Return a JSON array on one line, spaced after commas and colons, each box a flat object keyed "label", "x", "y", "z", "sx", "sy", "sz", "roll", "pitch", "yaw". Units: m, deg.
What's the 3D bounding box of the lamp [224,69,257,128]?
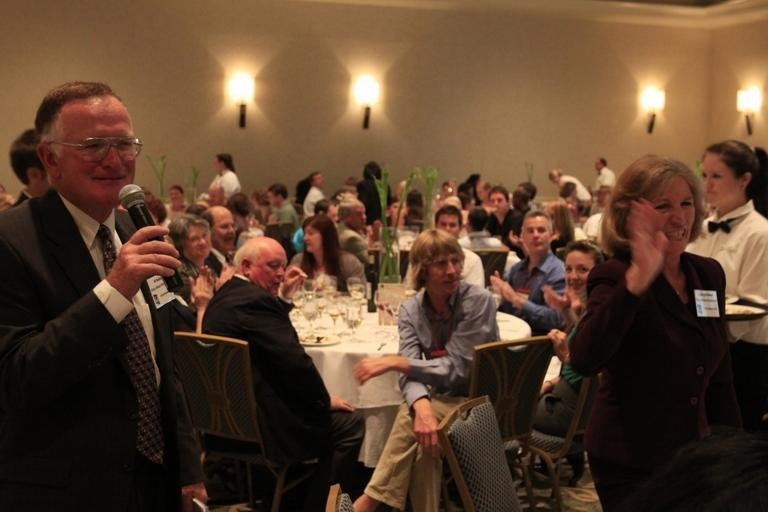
[{"label": "lamp", "x": -2.436, "y": -2.620, "z": 11.071, "sx": 0.472, "sy": 0.890, "sz": 0.555, "roll": -2, "pitch": 2, "yaw": 5}]

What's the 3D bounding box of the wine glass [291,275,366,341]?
[{"label": "wine glass", "x": -0.388, "y": 0.339, "z": 4.224, "sx": 0.385, "sy": 0.319, "sz": 0.435, "roll": 2, "pitch": -5, "yaw": -34}]

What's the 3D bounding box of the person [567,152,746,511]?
[{"label": "person", "x": 0.951, "y": 0.288, "z": 2.210, "sx": 0.630, "sy": 1.254, "sz": 0.301, "roll": -8, "pitch": 9, "yaw": -21}]

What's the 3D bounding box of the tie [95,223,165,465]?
[{"label": "tie", "x": -0.730, "y": 0.347, "z": 1.960, "sx": 0.125, "sy": 0.896, "sz": 0.117, "roll": -10, "pitch": -3, "yaw": 31}]

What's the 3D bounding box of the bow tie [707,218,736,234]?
[{"label": "bow tie", "x": 2.084, "y": -0.187, "z": 3.992, "sx": 0.079, "sy": 0.028, "sz": 0.079, "roll": -30, "pitch": 18, "yaw": -9}]

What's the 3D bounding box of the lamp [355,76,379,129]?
[{"label": "lamp", "x": -0.303, "y": -2.764, "z": 11.596, "sx": 0.511, "sy": 0.965, "sz": 0.178, "roll": -6, "pitch": 9, "yaw": -12}]

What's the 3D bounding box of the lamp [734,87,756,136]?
[{"label": "lamp", "x": 7.741, "y": -3.053, "z": 13.702, "sx": 0.407, "sy": 0.999, "sz": 0.205, "roll": -1, "pitch": 9, "yaw": 22}]

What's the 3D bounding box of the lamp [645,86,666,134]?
[{"label": "lamp", "x": 5.753, "y": -3.112, "z": 13.772, "sx": 0.617, "sy": 1.000, "sz": 0.186, "roll": -10, "pitch": 10, "yaw": -34}]
